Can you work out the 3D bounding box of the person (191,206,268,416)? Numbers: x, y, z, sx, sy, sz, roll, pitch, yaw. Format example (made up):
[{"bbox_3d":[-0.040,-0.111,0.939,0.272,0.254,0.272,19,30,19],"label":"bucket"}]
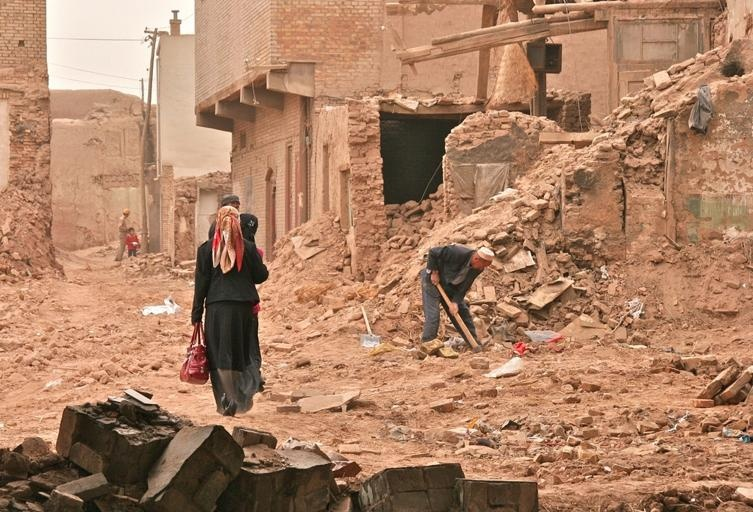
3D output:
[{"bbox_3d":[-2.554,0.957,23.473,1.207,3.619,0.457,-2,6,-6],"label":"person"}]

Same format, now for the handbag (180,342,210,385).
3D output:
[{"bbox_3d":[-3.146,1.855,23.369,0.480,0.686,0.241,-3,6,-8],"label":"handbag"}]

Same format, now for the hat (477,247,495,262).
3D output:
[{"bbox_3d":[2.041,-0.030,25.757,0.251,0.118,0.329,22,1,-10],"label":"hat"}]

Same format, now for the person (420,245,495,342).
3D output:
[{"bbox_3d":[1.474,0.742,26.140,1.294,1.906,0.689,-1,6,8],"label":"person"}]

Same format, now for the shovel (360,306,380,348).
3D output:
[{"bbox_3d":[-0.100,1.430,27.229,0.385,0.061,1.315,4,-37,2],"label":"shovel"}]
